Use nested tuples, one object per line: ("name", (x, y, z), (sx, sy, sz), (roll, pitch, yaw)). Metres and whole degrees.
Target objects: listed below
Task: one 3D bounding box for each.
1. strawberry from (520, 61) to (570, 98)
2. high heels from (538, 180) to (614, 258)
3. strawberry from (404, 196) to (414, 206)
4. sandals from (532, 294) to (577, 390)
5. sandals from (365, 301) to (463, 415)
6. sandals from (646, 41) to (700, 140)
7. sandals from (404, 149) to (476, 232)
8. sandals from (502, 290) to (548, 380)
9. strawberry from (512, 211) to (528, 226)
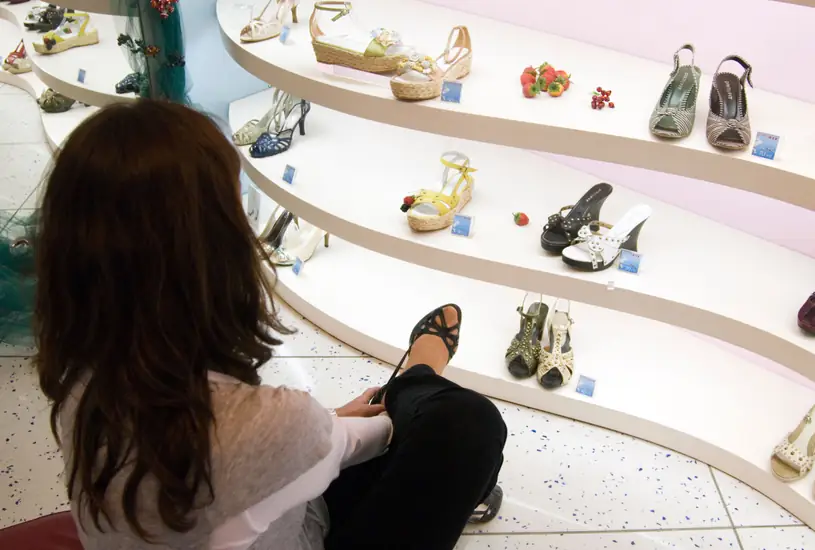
("strawberry", (0.504, -0.708, 2.059), (0.149, 0.068, 0.160), (-28, 41, -29))
("high heels", (0.640, -0.206, 2.269), (0.460, 0.200, 0.167), (-35, 40, -31))
("strawberry", (0.004, -0.302, 2.298), (0.033, 0.017, 0.046), (8, 38, 25))
("sandals", (0.625, 0.263, 2.327), (0.131, 0.108, 0.400), (2, 52, 13))
("sandals", (0.055, 0.260, 1.877), (0.160, 0.496, 0.113), (36, -7, -12))
("sandals", (0.955, -0.638, 1.931), (0.142, 0.269, 0.436), (21, 32, 17))
("sandals", (0.172, -0.358, 2.353), (0.193, 0.219, 0.504), (14, 38, 22))
("sandals", (0.506, 0.221, 2.327), (0.128, 0.180, 0.420), (6, 41, 20))
("strawberry", (0.456, -0.226, 2.280), (0.057, 0.046, 0.044), (22, 47, 17))
